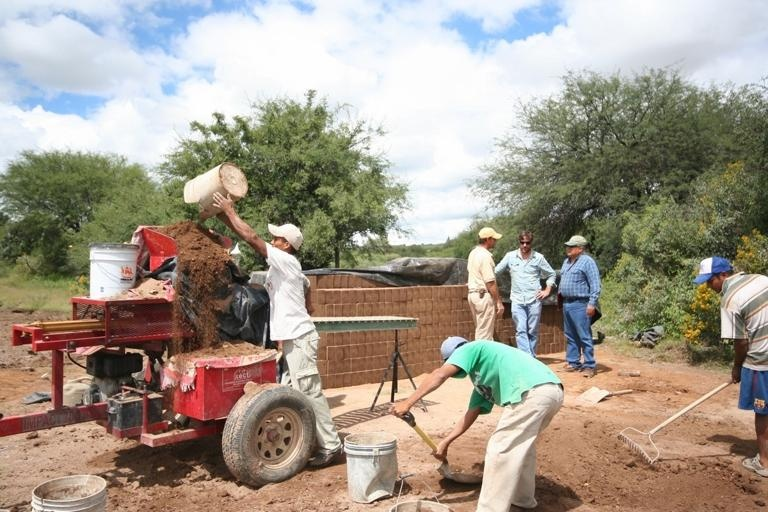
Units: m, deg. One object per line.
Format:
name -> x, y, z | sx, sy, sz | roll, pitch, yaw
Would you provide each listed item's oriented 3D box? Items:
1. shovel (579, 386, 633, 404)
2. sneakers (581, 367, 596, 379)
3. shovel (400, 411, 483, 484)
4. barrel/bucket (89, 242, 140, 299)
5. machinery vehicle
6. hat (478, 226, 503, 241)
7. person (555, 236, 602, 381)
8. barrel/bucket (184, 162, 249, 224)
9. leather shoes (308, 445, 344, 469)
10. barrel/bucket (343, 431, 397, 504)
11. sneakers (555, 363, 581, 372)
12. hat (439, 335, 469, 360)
shovel -> 3.993, 2.567, 10.906 | 0.908, 0.139, 0.386 | 4, -8, -33
sneakers -> 4.204, 2.399, 12.193 | 0.280, 0.179, 0.372 | -3, -5, 18
shovel -> 0.605, 2.450, 7.984 | 0.262, 0.409, 1.157 | -18, 48, -30
barrel/bucket -> -3.816, 0.242, 8.543 | 0.695, 0.803, 0.726 | 0, -2, 0
machinery vehicle -> -3.198, 1.601, 9.247 | 4.207, 4.068, 2.946 | 4, -6, -36
hat -> 2.239, -0.444, 12.099 | 0.631, 0.374, 0.418 | -1, 4, -10
person -> 4.059, 1.045, 12.206 | 0.845, 2.860, 0.703 | -3, -3, 35
barrel/bucket -> -2.431, -0.930, 8.527 | 0.848, 0.799, 0.401 | -3, -3, 18
leather shoes -> -0.859, 2.887, 8.515 | 0.534, 0.232, 0.213 | 3, -5, -34
barrel/bucket -> -0.205, 2.778, 7.956 | 0.767, 0.786, 0.750 | 1, -4, 0
sneakers -> 3.935, 2.360, 12.624 | 0.463, 0.216, 0.190 | 4, -2, 8
hat -> 0.883, 1.158, 7.704 | 0.371, 0.230, 0.276 | -22, 4, 3
